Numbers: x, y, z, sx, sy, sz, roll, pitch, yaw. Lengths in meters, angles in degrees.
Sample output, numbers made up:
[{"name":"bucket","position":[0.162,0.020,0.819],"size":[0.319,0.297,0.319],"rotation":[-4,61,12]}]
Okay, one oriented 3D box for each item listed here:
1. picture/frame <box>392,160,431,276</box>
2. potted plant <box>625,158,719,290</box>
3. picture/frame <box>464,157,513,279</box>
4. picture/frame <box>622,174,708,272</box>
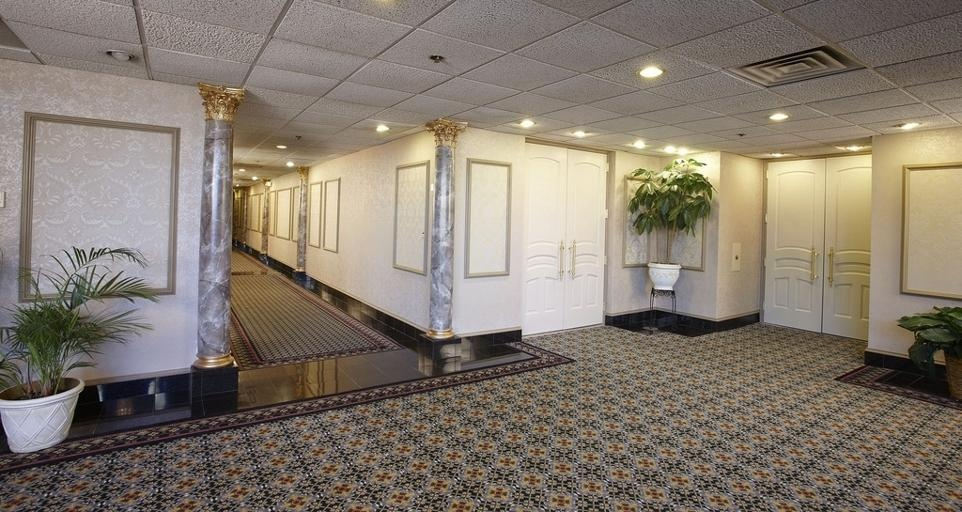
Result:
[{"name":"picture/frame","position":[-1.366,-0.793,9.300],"size":[0.088,1.981,1.642],"rotation":[-3,10,-30]},{"name":"potted plant","position":[3.837,-0.906,10.148],"size":[1.671,2.196,0.807],"rotation":[5,11,19]},{"name":"picture/frame","position":[0.121,-0.668,8.753],"size":[1.083,2.025,0.090],"rotation":[-3,6,-43]},{"name":"picture/frame","position":[3.762,-0.729,10.121],"size":[2.627,2.431,0.189],"rotation":[0,8,0]}]
